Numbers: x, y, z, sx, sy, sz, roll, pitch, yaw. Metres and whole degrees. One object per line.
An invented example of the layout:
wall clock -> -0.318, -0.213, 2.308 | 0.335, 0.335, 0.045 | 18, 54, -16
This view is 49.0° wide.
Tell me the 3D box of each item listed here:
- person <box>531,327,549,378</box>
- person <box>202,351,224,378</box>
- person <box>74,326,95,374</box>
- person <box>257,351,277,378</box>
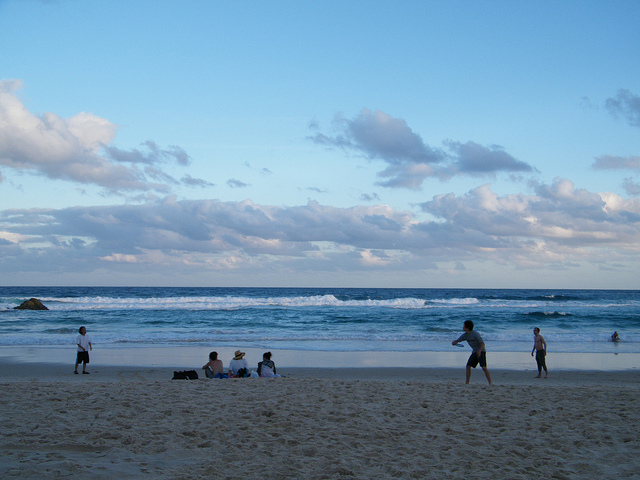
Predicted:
person -> 6.993, 3.591, 22.384 | 0.480, 1.523, 0.866 | 0, 0, 16
person -> -3.290, 3.825, 21.474 | 0.658, 1.004, 0.772 | 4, -2, -28
person -> -7.666, 3.513, 22.712 | 0.500, 1.436, 1.266 | 0, 0, -19
person -> -1.679, 3.871, 21.718 | 0.779, 1.021, 0.720 | 1, -14, -7
